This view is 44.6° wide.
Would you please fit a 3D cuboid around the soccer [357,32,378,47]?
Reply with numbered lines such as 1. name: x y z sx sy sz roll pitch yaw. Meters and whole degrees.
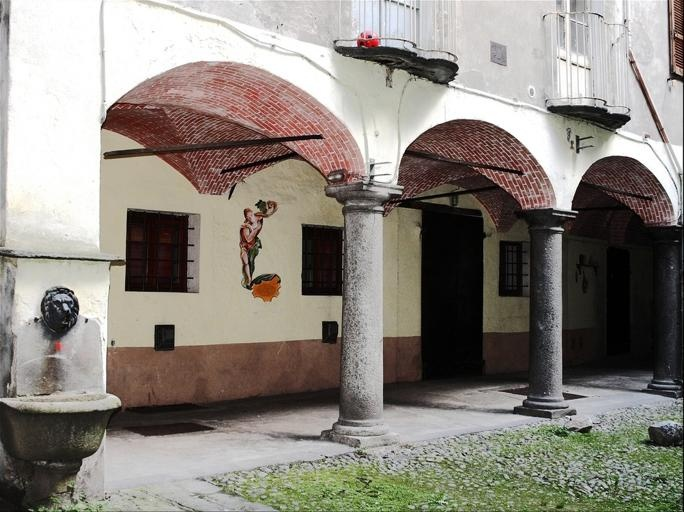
1. soccer: 0.297 -2.535 9.782 0.251 0.224 0.175 -1 -3 2
